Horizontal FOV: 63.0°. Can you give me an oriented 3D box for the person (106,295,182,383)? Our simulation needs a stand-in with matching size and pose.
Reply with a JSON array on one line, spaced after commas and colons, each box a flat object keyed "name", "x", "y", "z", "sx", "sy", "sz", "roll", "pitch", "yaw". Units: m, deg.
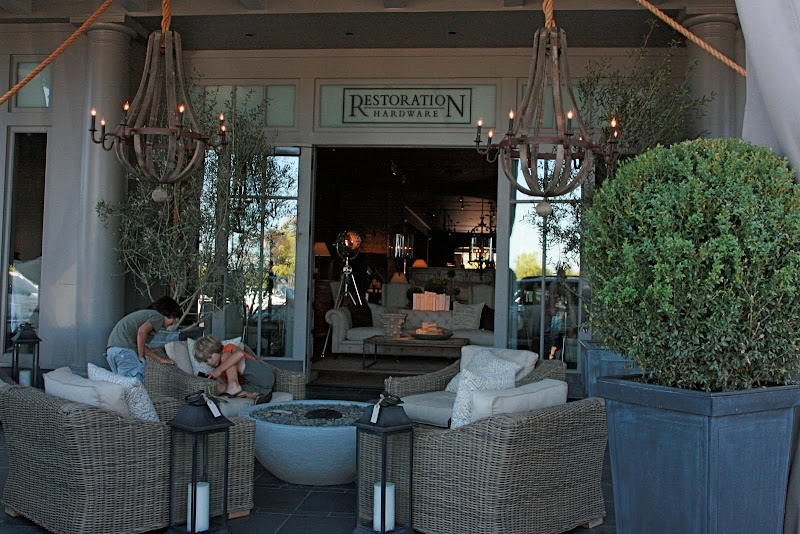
[{"name": "person", "x": -2.385, "y": 0.664, "z": 6.184, "sx": 0.611, "sy": 0.928, "sz": 0.633, "roll": 0, "pitch": 0, "yaw": 33}]

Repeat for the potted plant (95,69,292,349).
[{"name": "potted plant", "x": -2.793, "y": -0.696, "z": 8.580, "sx": 1.737, "sy": 3.487, "sz": 2.341, "roll": 2, "pitch": 0, "yaw": 11}]

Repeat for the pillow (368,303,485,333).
[{"name": "pillow", "x": 0.713, "y": 0.861, "z": 11.231, "sx": 1.926, "sy": 0.449, "sz": 0.935, "roll": 2, "pitch": -1, "yaw": 6}]

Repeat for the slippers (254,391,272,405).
[{"name": "slippers", "x": -1.199, "y": 1.140, "z": 5.678, "sx": 0.083, "sy": 0.087, "sz": 0.228, "roll": -2, "pitch": 4, "yaw": -1}]
